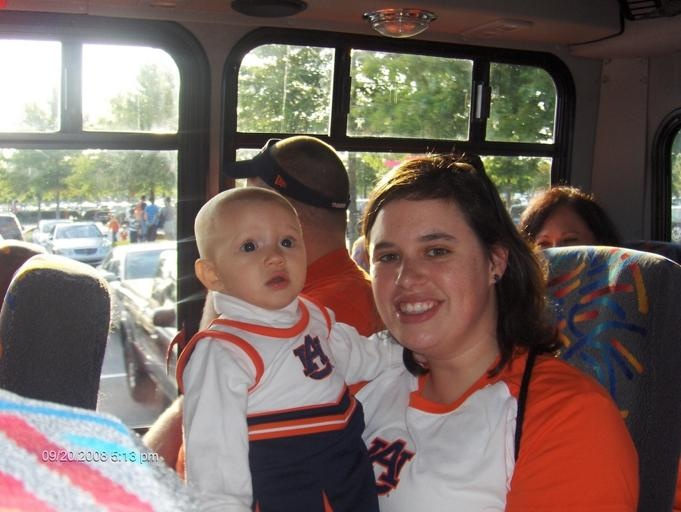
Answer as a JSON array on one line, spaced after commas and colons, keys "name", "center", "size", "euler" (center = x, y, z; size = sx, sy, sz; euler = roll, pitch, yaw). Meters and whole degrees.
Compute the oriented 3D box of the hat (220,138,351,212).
[{"name": "hat", "center": [-0.202, -0.329, 2.748], "size": [0.409, 0.222, 0.298], "euler": [23, 18, -3]}]
